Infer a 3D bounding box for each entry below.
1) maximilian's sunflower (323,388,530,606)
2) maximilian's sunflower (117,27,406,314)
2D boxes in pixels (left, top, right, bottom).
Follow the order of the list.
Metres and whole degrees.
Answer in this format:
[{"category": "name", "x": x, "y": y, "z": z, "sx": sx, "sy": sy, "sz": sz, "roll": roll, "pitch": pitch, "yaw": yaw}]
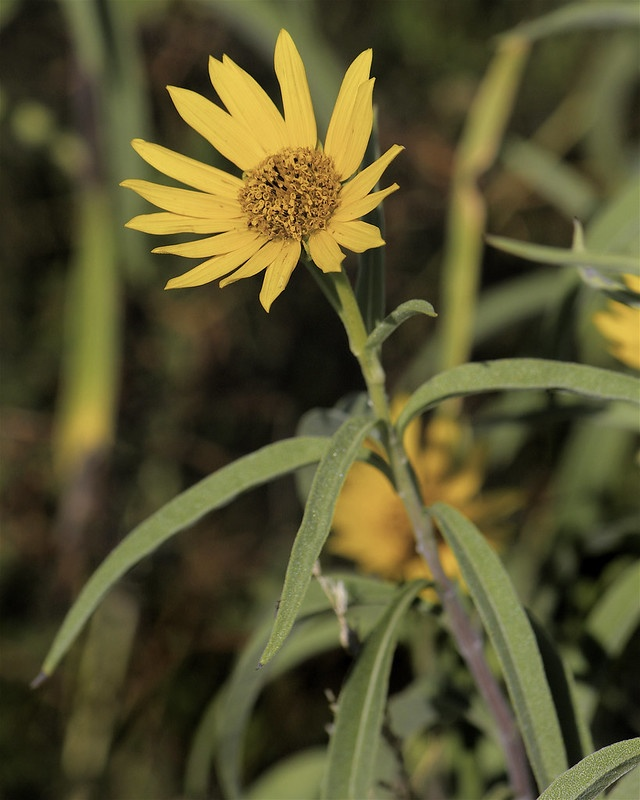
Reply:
[{"category": "maximilian's sunflower", "x": 0.087, "y": 0.096, "z": 0.645, "sx": 0.140, "sy": 0.130, "sz": 0.035, "roll": 26, "pitch": -86, "yaw": -47}, {"category": "maximilian's sunflower", "x": -0.032, "y": -0.124, "z": 0.420, "sx": 0.145, "sy": 0.115, "sz": 0.147, "roll": 18, "pitch": -78, "yaw": -6}]
